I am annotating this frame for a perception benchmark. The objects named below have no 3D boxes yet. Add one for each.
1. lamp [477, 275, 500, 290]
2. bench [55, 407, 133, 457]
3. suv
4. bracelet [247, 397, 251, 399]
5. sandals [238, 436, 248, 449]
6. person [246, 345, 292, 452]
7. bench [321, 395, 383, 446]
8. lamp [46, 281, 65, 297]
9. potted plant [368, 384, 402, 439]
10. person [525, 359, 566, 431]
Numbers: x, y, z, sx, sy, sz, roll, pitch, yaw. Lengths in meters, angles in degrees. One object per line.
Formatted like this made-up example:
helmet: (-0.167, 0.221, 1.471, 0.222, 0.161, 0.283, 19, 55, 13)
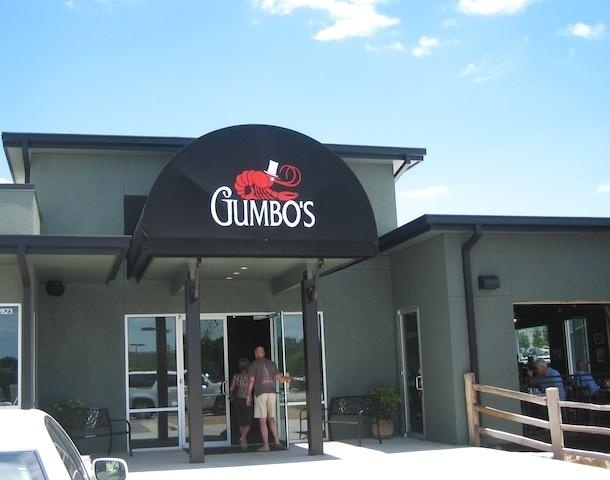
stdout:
lamp: (3.967, 0.892, 12.625, 0.540, 0.313, 0.229, 1, -12, -22)
bench: (-4.467, 4.055, 12.374, 1.558, 1.082, 0.616, 11, -18, -18)
suv: (-2.976, 3.502, 13.798, 1.912, 0.869, 1.108, -3, -6, -10)
bracelet: (-1.175, 3.333, 12.416, 0.077, 0.085, 0.082, 1, -4, -4)
sandals: (-1.328, 4.417, 12.722, 0.130, 0.422, 0.181, -2, 17, 10)
person: (-0.781, 3.274, 12.302, 0.809, 2.076, 0.622, -1, -11, -10)
bench: (0.995, 4.211, 13.902, 0.529, 1.055, 1.416, 8, -15, -39)
lamp: (-5.514, 1.070, 13.144, 0.394, 0.355, 0.285, 2, -12, -25)
potted plant: (1.856, 4.009, 13.844, 0.923, 1.412, 0.937, -1, -3, 24)
person: (5.607, 3.562, 13.423, 0.473, 1.797, 0.615, -19, 8, -26)
